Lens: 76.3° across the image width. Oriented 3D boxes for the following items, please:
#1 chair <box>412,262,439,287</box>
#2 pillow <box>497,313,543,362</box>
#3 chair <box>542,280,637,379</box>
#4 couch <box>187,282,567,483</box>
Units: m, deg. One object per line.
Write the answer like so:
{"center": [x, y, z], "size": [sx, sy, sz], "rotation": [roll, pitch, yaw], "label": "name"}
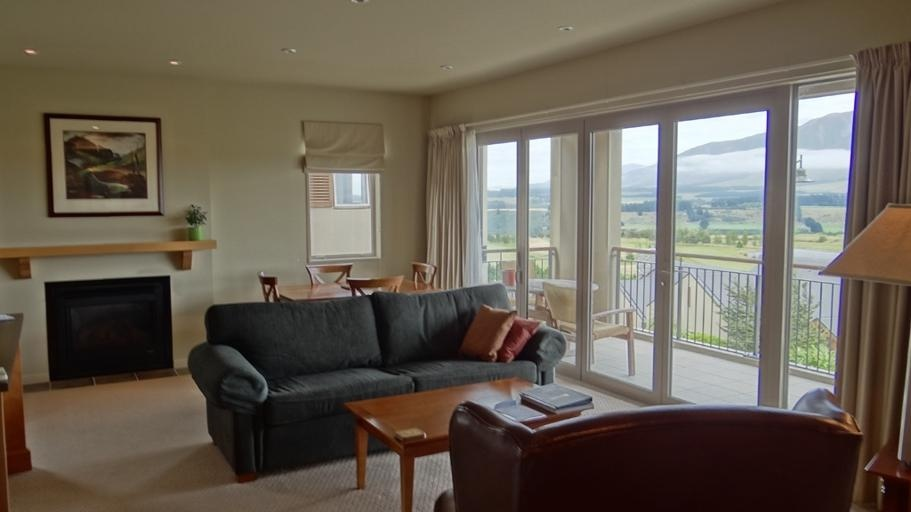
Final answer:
{"center": [-0.455, 0.263, 7.916], "size": [0.409, 0.429, 0.345], "rotation": [-1, 2, -35], "label": "chair"}
{"center": [0.612, 0.823, 5.866], "size": [0.155, 0.408, 0.396], "rotation": [37, 36, -11], "label": "pillow"}
{"center": [1.614, 0.806, 7.049], "size": [1.090, 1.300, 1.081], "rotation": [-3, 2, -22], "label": "chair"}
{"center": [-0.699, 1.133, 6.062], "size": [3.741, 1.260, 1.271], "rotation": [-1, 10, -35], "label": "couch"}
